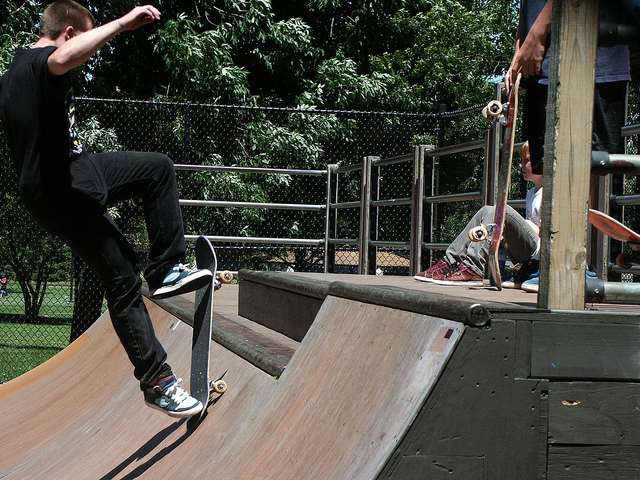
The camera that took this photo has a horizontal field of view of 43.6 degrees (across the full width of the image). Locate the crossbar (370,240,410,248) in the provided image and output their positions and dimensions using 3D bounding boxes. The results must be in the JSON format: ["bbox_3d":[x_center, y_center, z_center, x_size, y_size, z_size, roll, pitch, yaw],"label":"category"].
[{"bbox_3d":[0.668,0.037,7.639,0.105,0.128,0.714,1,-1,-23],"label":"crossbar"}]

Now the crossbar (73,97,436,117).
[{"bbox_3d":[-0.724,-1.389,8.289,3.527,0.083,1.040,1,6,-9],"label":"crossbar"}]

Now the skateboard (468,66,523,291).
[{"bbox_3d":[0.943,-0.334,4.200,0.177,1.432,0.274,2,1,2],"label":"skateboard"}]

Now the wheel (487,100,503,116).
[{"bbox_3d":[0.952,-0.722,4.343,0.071,0.080,0.026,-18,-14,19],"label":"wheel"}]

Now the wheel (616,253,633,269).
[{"bbox_3d":[1.592,0.108,4.156,0.083,0.095,0.030,-1,4,-23],"label":"wheel"}]

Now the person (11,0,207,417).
[{"bbox_3d":[-1.069,-0.144,3.963,0.935,2.009,0.353,0,7,-11],"label":"person"}]

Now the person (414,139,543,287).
[{"bbox_3d":[0.985,-0.326,5.200,0.847,0.986,0.360,-8,-23,-44],"label":"person"}]

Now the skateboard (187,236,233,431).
[{"bbox_3d":[-0.615,0.502,4.249,0.142,1.035,0.231,10,-13,-33],"label":"skateboard"}]
